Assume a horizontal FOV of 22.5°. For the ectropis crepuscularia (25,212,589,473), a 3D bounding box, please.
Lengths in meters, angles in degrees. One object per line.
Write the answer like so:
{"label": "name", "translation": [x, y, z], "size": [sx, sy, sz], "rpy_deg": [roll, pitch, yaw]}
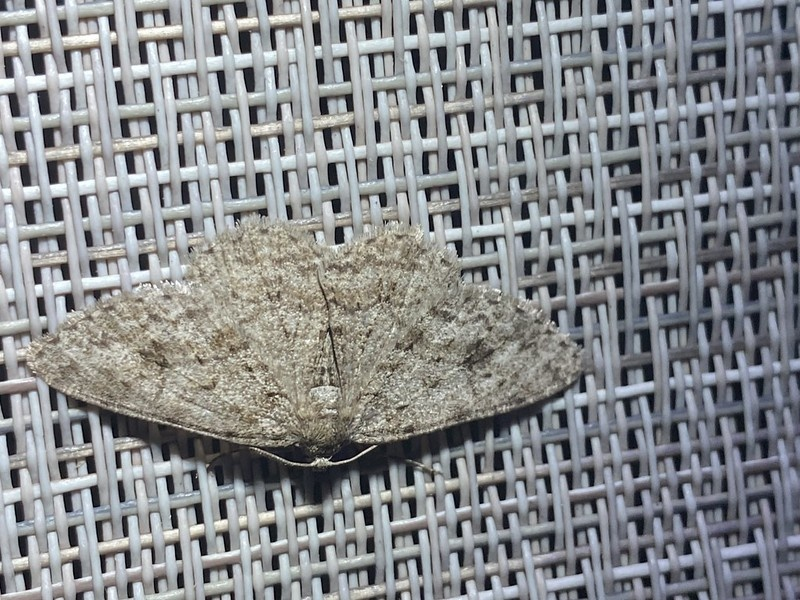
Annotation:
{"label": "ectropis crepuscularia", "translation": [-0.204, 0.065, 3.453], "size": [0.809, 0.068, 0.436], "rpy_deg": [-1, 91, 1]}
